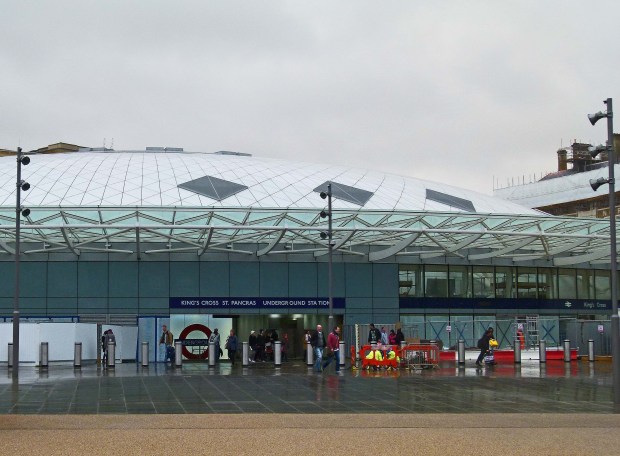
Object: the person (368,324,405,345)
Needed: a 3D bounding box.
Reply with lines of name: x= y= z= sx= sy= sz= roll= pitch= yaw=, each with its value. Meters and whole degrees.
person: x=3.397 y=4.895 z=36.925 sx=1.449 sy=0.711 sz=1.296 roll=0 pitch=-4 yaw=-1
